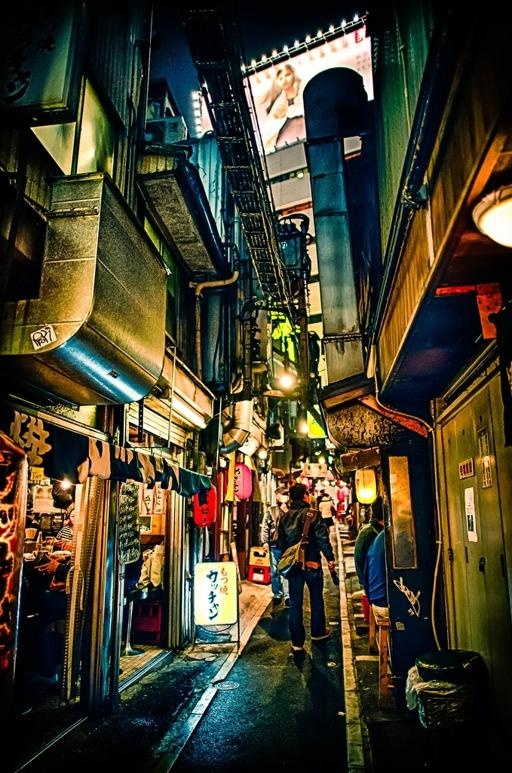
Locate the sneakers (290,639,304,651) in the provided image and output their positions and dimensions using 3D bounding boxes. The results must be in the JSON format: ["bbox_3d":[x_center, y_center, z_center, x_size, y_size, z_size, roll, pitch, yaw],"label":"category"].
[{"bbox_3d":[0.679,4.232,8.740,0.175,0.172,0.303,0,-12,-2],"label":"sneakers"}]

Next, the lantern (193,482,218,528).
[{"bbox_3d":[-1.130,2.557,11.461,0.458,0.867,0.805,-1,-11,2],"label":"lantern"}]

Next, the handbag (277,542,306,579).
[{"bbox_3d":[0.593,2.974,9.184,0.501,0.593,0.213,-8,-13,32],"label":"handbag"}]

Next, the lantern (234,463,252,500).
[{"bbox_3d":[-0.415,2.882,16.168,0.518,1.251,1.104,-2,-11,6],"label":"lantern"}]

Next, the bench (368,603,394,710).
[{"bbox_3d":[1.731,3.742,7.421,0.142,0.709,1.199,0,-8,8],"label":"bench"}]
